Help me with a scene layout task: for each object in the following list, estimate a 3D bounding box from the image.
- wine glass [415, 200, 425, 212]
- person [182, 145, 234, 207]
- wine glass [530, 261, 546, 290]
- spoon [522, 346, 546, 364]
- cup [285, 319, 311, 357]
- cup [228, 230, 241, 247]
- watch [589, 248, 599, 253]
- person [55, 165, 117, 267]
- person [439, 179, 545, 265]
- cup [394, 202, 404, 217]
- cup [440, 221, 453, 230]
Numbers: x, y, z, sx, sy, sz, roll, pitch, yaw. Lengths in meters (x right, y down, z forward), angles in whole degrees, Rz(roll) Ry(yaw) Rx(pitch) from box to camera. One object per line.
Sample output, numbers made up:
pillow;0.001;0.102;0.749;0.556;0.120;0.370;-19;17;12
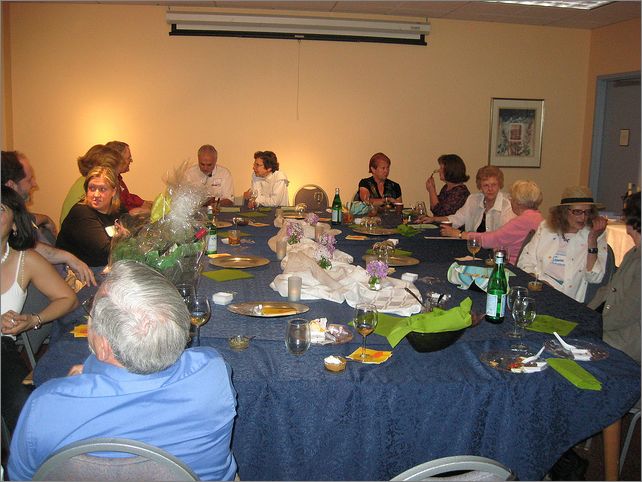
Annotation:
wine glass;0.967;-0.340;5.021;0.078;0.091;0.090;2;11;15
person;-1.317;-0.637;5.992;0.594;0.962;0.499;3;25;-7
wine glass;1.179;0.185;2.826;0.124;0.187;0.117;0;2;29
spoon;0.853;0.451;2.059;0.021;0.037;0.199;-20;-9;37
cup;-0.088;0.379;2.043;0.111;0.156;0.117;1;-1;0
cup;-0.586;-0.025;3.547;0.082;0.100;0.087;1;-1;0
watch;1.700;0.057;3.198;0.033;0.035;0.032;2;15;-6
person;-1.420;-0.089;3.336;0.510;0.757;0.434;-1;-1;-19
person;1.402;-0.055;4.115;0.759;0.853;0.473;-3;6;-7
cup;0.769;-0.313;5.095;0.100;0.117;0.101;0;14;0
cup;1.021;-0.131;4.166;0.071;0.068;0.087;-1;1;1
